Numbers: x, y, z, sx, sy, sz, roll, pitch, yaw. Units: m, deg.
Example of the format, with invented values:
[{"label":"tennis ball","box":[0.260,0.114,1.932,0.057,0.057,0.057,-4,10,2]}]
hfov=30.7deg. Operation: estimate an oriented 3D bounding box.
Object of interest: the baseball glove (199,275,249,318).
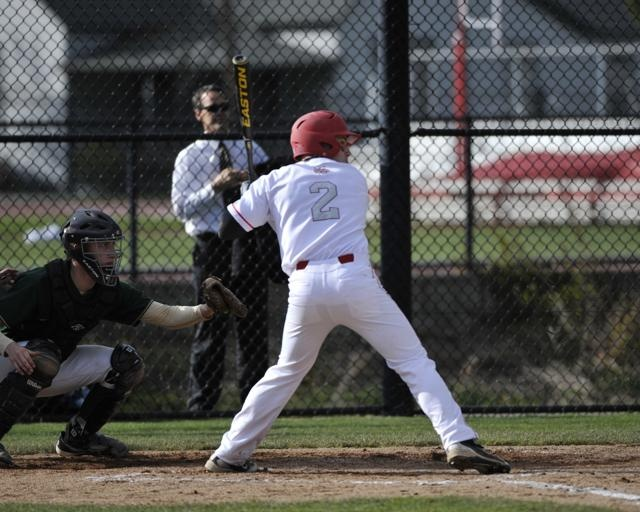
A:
[{"label":"baseball glove","box":[-0.636,0.219,8.347,0.382,0.219,0.164,21,-20,34]}]

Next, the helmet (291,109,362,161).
[{"label":"helmet","box":[0.042,-0.842,8.339,0.420,0.304,0.295,12,-17,-10]}]

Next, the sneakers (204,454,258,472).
[{"label":"sneakers","box":[-0.634,1.451,8.260,0.377,0.154,0.135,1,3,-13]}]

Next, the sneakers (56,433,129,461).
[{"label":"sneakers","box":[-1.651,1.408,8.700,0.590,0.254,0.196,-1,0,-6]}]
